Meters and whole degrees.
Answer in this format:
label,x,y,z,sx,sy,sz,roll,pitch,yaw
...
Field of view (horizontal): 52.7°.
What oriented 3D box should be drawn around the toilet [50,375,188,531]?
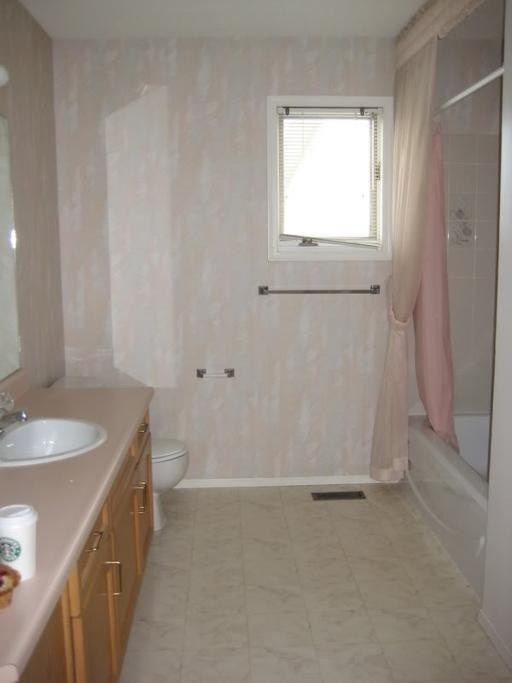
label,x,y,z,sx,sy,sz,roll,pitch,yaw
toilet,-0.648,0.309,2.684,0.496,0.702,0.895,-1,10,-8
